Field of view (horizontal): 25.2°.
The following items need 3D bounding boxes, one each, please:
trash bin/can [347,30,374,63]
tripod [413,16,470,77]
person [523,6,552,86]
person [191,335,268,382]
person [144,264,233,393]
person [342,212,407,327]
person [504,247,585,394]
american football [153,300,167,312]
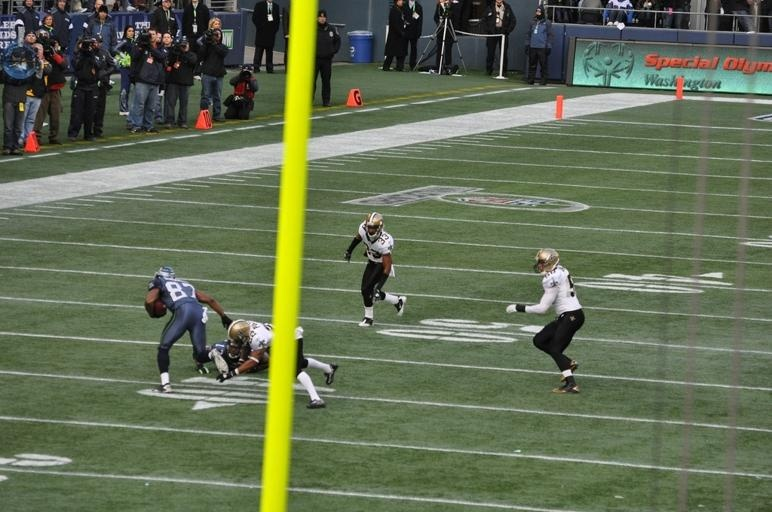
[{"bbox_3d":[-0.791,-6.682,54.914,0.777,1.051,1.001,0,6,-2],"label":"trash bin/can"},{"bbox_3d":[1.739,-6.391,53.123,1.445,1.805,1.337,-1,-4,-23],"label":"tripod"},{"bbox_3d":[4.378,-6.039,49.260,0.649,2.221,1.005,1,7,4],"label":"person"},{"bbox_3d":[-2.248,1.464,25.033,0.800,0.653,0.873,0,-2,1],"label":"person"},{"bbox_3d":[-2.912,1.064,25.465,1.294,1.788,1.111,2,-5,-2],"label":"person"},{"bbox_3d":[-0.208,0.178,27.322,0.974,1.765,1.116,8,-2,-12],"label":"person"},{"bbox_3d":[2.422,0.927,25.440,0.972,2.089,0.716,0,7,-4],"label":"person"},{"bbox_3d":[-3.271,0.698,25.111,0.146,0.190,0.179,-48,9,-10],"label":"american football"}]
